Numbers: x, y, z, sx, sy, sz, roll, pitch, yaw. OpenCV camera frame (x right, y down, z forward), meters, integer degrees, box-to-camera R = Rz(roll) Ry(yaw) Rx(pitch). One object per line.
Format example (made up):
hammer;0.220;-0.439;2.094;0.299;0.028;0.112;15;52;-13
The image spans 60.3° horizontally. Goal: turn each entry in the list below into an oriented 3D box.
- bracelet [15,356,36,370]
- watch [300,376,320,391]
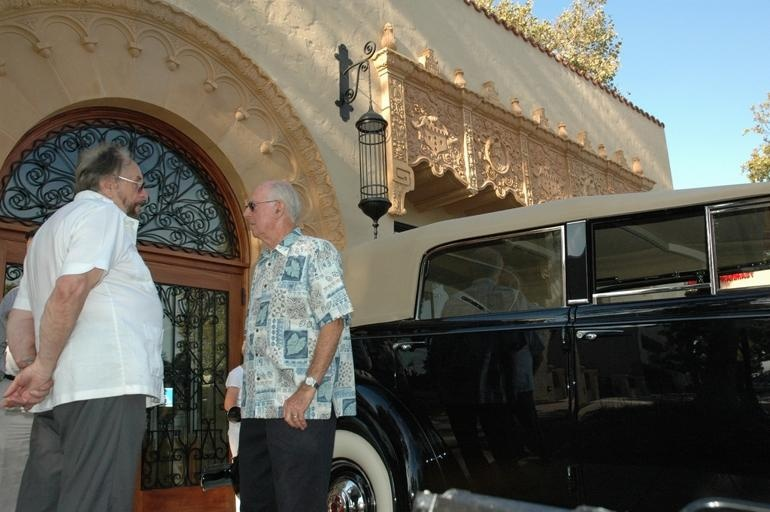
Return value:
bracelet;-2.091;0.632;3.868;0.094;0.081;0.102;0;-1;-11
watch;-0.448;0.768;3.991;0.095;0.062;0.098;24;-5;23
